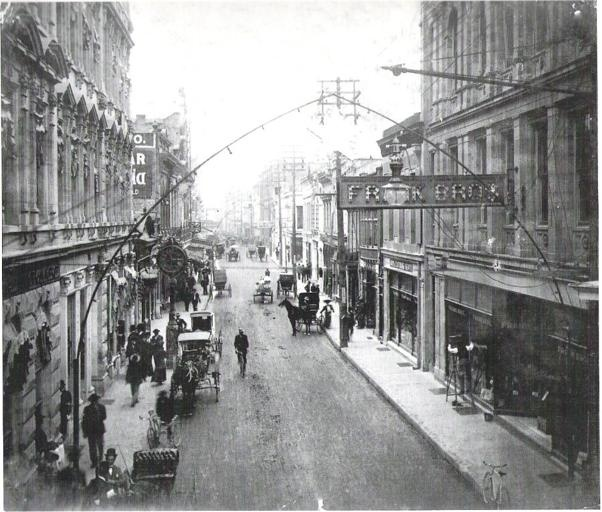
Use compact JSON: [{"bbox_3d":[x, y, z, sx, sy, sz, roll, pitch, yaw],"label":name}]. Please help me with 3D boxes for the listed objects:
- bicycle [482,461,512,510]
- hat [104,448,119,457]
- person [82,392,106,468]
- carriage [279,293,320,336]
[{"bbox_3d":[4.159,4.751,15.077,0.604,0.900,1.017,6,13,19],"label":"bicycle"},{"bbox_3d":[-4.059,4.154,15.075,0.255,0.167,0.374,6,-18,-11],"label":"hat"},{"bbox_3d":[-4.561,3.785,15.469,0.488,1.570,0.458,1,10,-6],"label":"person"},{"bbox_3d":[0.279,1.901,25.352,0.641,2.203,2.553,-7,-12,32],"label":"carriage"}]
